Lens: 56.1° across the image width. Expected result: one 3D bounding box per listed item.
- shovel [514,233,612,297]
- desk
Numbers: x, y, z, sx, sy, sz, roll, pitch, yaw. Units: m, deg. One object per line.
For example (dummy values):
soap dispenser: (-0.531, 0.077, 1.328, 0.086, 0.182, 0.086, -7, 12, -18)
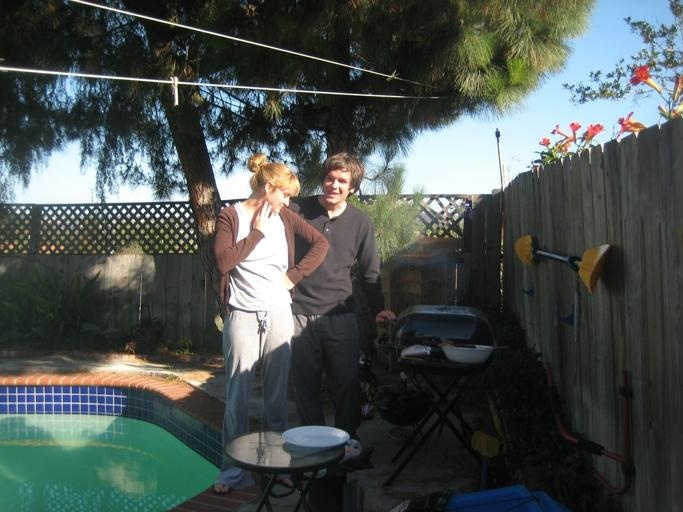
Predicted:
shovel: (1.623, 0.037, 4.732, 0.235, 0.412, 1.163, 2, 0, -6)
desk: (0.845, 1.197, 5.227, 0.853, 1.431, 0.840, -2, -4, 32)
